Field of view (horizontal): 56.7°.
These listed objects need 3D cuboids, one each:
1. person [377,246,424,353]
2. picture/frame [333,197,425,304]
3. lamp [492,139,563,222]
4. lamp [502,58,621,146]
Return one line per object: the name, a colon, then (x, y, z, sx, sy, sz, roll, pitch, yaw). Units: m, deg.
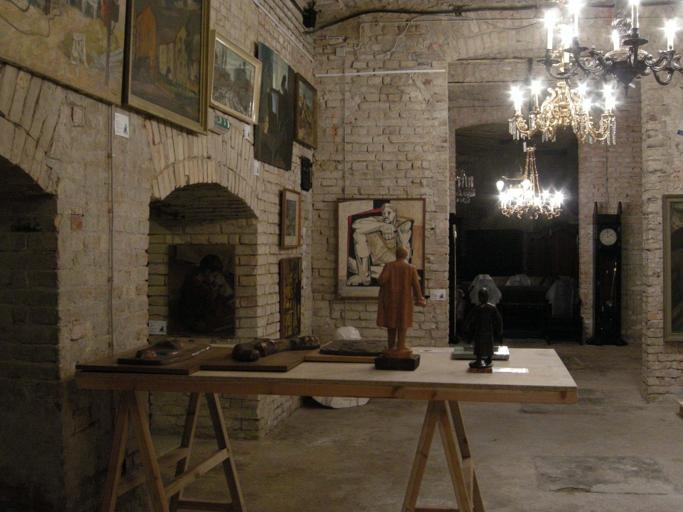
person: (0.425, 0.314, 4.668, 0.335, 0.753, 0.405, 0, 4, 4)
picture/frame: (0.500, -0.102, 8.246, 1.445, 1.635, 0.121, 0, -2, 2)
lamp: (4.718, -1.983, 15.883, 1.854, 2.593, 1.928, 2, 7, 19)
lamp: (3.282, -2.364, 9.520, 1.951, 1.080, 2.136, 2, 10, 9)
